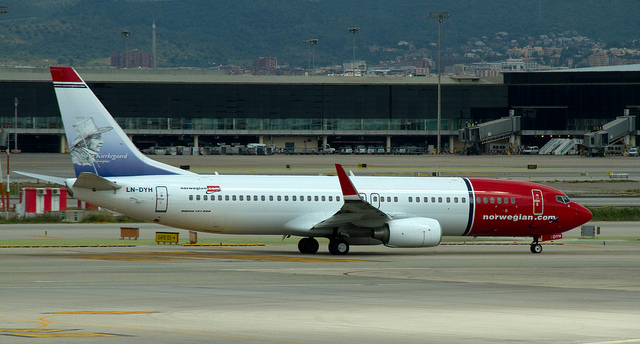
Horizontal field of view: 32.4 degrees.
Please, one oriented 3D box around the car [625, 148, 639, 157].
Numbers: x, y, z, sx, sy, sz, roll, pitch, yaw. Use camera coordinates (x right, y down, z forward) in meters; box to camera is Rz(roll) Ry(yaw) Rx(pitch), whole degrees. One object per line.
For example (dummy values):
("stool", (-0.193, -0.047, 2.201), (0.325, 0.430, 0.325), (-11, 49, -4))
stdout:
("car", (96.478, -5.959, 339.939), (4.217, 1.815, 5.279), (0, -3, 15))
